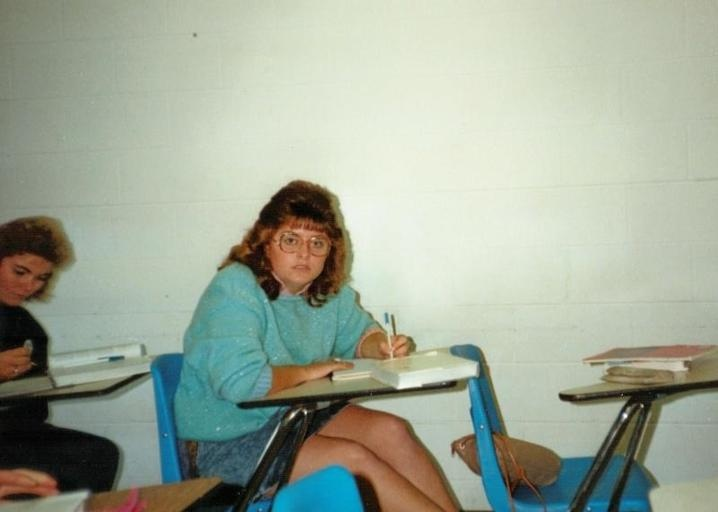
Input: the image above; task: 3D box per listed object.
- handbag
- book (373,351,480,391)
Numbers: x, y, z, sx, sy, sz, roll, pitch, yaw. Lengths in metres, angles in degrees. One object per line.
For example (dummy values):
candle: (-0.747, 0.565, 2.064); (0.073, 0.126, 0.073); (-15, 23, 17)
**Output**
handbag: (0.559, 0.745, 2.431); (0.414, 0.140, 0.206); (19, 16, 3)
book: (0.196, 0.376, 2.258); (0.299, 0.077, 0.298); (-3, 4, -19)
